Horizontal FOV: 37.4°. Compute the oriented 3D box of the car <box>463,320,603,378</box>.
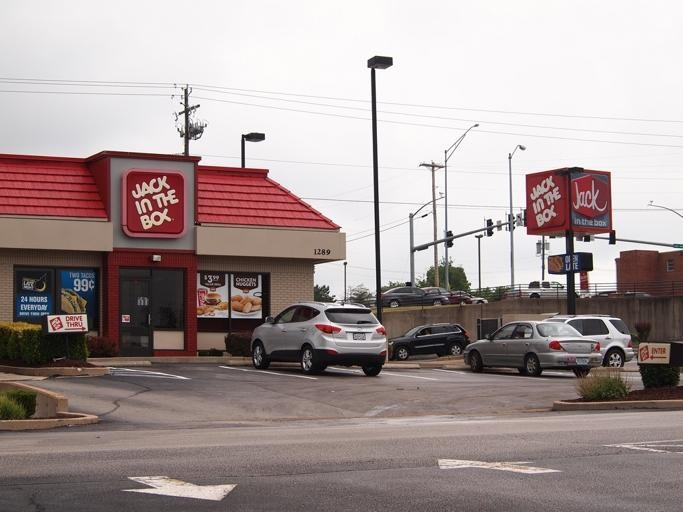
[{"bbox_3d":[5.910,2.931,31.442,1.436,1.667,3.877,2,-6,-41],"label":"car"}]

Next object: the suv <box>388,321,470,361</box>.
[{"bbox_3d":[3.607,3.656,42.366,3.160,1.332,1.523,1,-5,-11],"label":"suv"}]

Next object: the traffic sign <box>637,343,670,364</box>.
[{"bbox_3d":[7.289,2.340,23.671,0.306,0.514,0.914,2,-6,-36],"label":"traffic sign"}]

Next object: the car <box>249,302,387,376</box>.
[{"bbox_3d":[-0.650,2.432,28.694,3.547,2.182,1.906,-6,-6,41],"label":"car"}]

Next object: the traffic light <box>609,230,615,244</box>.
[{"bbox_3d":[15.227,-0.935,56.787,0.256,0.668,0.880,-2,-5,6],"label":"traffic light"}]

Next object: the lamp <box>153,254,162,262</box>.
[{"bbox_3d":[-6.427,0.139,35.064,0.392,0.219,0.252,1,-6,-32],"label":"lamp"}]

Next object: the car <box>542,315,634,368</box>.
[{"bbox_3d":[8.446,2.844,32.953,2.630,1.352,1.605,3,-6,-7],"label":"car"}]

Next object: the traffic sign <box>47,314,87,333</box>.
[{"bbox_3d":[-7.294,1.851,26.667,1.164,0.491,0.283,2,-6,-38],"label":"traffic sign"}]
